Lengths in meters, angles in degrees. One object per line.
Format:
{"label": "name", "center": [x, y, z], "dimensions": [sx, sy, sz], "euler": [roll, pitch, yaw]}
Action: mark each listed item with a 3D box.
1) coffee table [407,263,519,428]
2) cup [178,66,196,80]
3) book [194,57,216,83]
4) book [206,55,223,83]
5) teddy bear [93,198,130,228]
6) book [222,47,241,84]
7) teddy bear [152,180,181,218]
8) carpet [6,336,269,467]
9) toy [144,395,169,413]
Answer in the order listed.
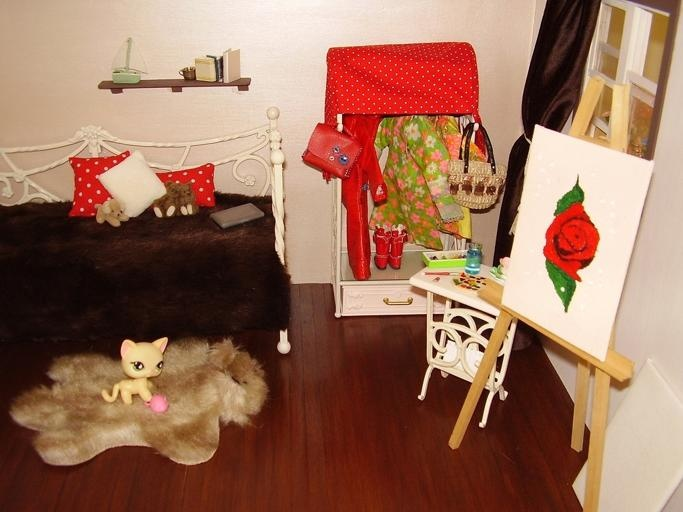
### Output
{"label": "coffee table", "center": [0.754, 0.549, 3.174], "dimensions": [0.589, 0.756, 0.379], "euler": [14, 19, 42]}
{"label": "cup", "center": [-1.158, -1.377, 3.889], "dimensions": [0.097, 0.092, 0.169], "euler": [-12, 28, -24]}
{"label": "book", "center": [-1.003, -1.377, 3.818], "dimensions": [0.134, 0.202, 0.105], "euler": [3, 32, 6]}
{"label": "book", "center": [-0.940, -1.375, 3.810], "dimensions": [0.077, 0.148, 0.149], "euler": [2, 30, 3]}
{"label": "teddy bear", "center": [-1.698, -0.328, 3.826], "dimensions": [0.229, 0.139, 0.194], "euler": [10, 27, 21]}
{"label": "book", "center": [-0.802, -1.421, 3.839], "dimensions": [0.208, 0.220, 0.070], "euler": [19, 8, 41]}
{"label": "teddy bear", "center": [-1.324, -0.420, 3.912], "dimensions": [0.165, 0.259, 0.088], "euler": [1, -12, 21]}
{"label": "carpet", "center": [-1.219, 0.910, 3.143], "dimensions": [0.958, 0.241, 0.733], "euler": [-1, 34, -23]}
{"label": "toy", "center": [-1.129, 0.911, 3.142], "dimensions": [0.105, 0.089, 0.092], "euler": [6, 55, -11]}
